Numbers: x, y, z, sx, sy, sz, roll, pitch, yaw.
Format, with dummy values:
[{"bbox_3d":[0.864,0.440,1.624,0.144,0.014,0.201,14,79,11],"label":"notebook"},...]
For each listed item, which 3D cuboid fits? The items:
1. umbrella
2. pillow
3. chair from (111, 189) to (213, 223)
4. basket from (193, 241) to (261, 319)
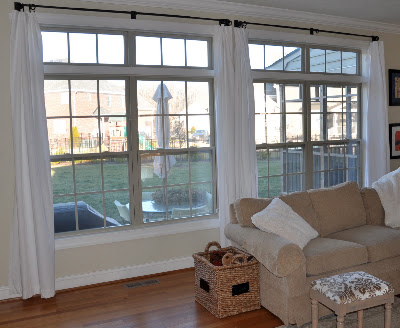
[{"bbox_3d":[-0.455,-0.257,4.627,0.272,1.486,0.217,-3,10,-7],"label":"umbrella"},{"bbox_3d":[0.861,0.594,3.790,0.476,0.362,0.518,7,13,41],"label":"pillow"},{"bbox_3d":[-0.322,0.527,4.605,0.939,0.430,0.211,-8,19,-19],"label":"chair"},{"bbox_3d":[0.264,1.146,3.853,0.533,0.594,0.632,-4,4,-34],"label":"basket"}]
